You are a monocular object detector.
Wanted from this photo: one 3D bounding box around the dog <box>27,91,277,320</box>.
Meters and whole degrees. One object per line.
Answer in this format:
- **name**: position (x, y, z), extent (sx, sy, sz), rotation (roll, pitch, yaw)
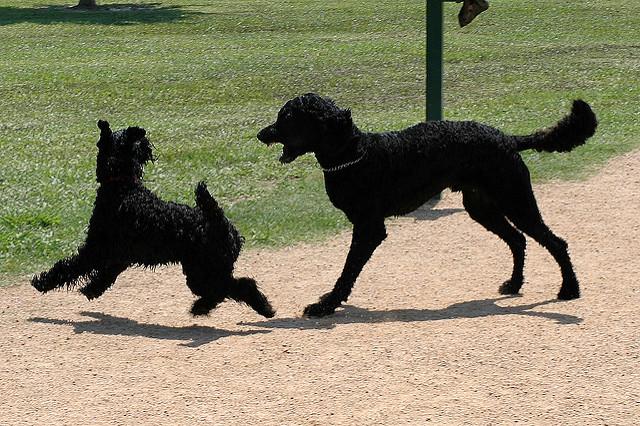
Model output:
- **dog**: position (-1.837, 0.086, 10.565), extent (2.293, 2.169, 0.965), rotation (10, 26, 26)
